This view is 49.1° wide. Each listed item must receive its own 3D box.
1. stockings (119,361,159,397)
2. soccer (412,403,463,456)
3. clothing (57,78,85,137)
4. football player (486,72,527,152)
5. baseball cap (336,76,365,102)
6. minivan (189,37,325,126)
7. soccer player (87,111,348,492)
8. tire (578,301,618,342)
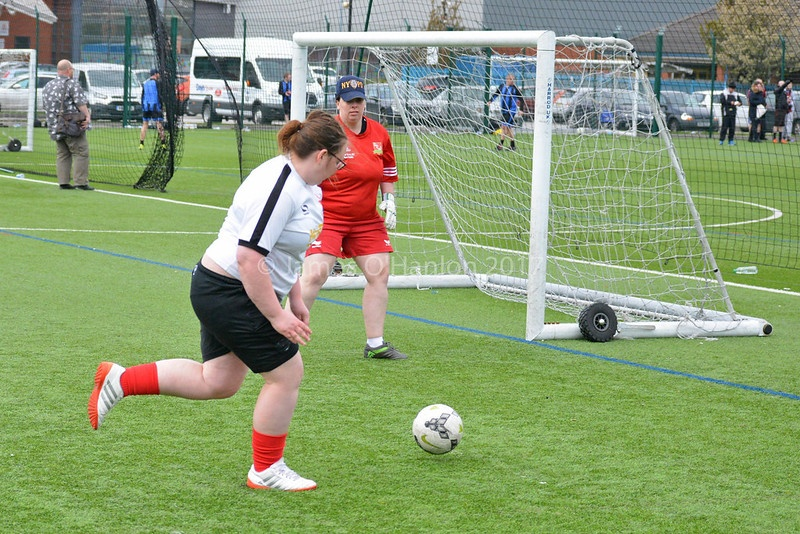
[{"bbox_3d":[-1.643,0.715,5.515,0.170,0.184,0.216,-2,-4,-3],"label":"stockings"},{"bbox_3d":[0.247,1.047,5.968,0.328,0.330,0.311,-6,17,-37],"label":"soccer"},{"bbox_3d":[-5.463,-2.574,14.483,0.412,0.919,0.338,8,16,23],"label":"clothing"},{"bbox_3d":[1.341,-1.900,10.889,0.380,0.945,0.283,7,16,21],"label":"football player"},{"bbox_3d":[-0.431,-1.499,7.454,0.177,0.142,0.263,-1,10,-13],"label":"baseball cap"},{"bbox_3d":[-4.665,-5.782,27.416,2.050,2.456,5.039,-9,15,-40],"label":"minivan"},{"bbox_3d":[-1.134,0.218,5.536,1.622,2.329,0.930,3,9,-8],"label":"soccer player"},{"bbox_3d":[1.863,0.515,8.120,0.419,0.339,0.159,-5,16,-23],"label":"tire"}]
